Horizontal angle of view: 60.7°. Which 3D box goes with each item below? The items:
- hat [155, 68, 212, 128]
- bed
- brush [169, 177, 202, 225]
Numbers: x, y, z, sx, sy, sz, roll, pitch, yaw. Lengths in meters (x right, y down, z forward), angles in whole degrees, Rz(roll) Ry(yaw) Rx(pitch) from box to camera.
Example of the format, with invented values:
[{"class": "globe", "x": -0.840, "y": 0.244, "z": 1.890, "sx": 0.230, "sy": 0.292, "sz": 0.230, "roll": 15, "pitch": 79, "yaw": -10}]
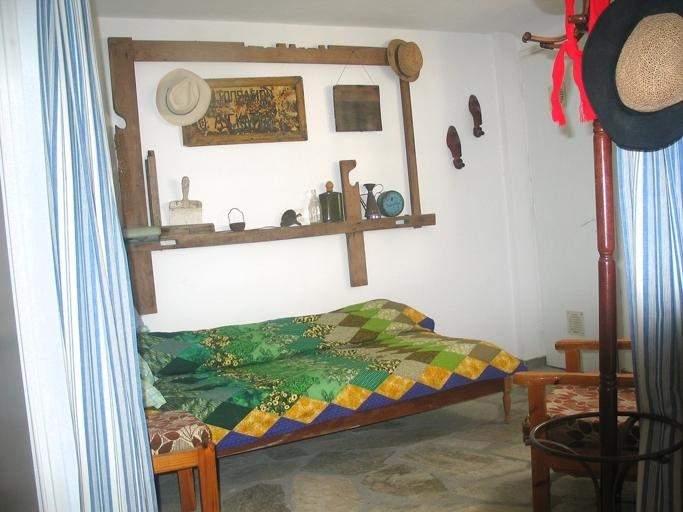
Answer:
[{"class": "hat", "x": -1.100, "y": -1.077, "z": 4.019, "sx": 0.382, "sy": 0.377, "sz": 0.133, "roll": 11, "pitch": 11, "yaw": -2}, {"class": "bed", "x": -0.167, "y": 0.651, "z": 3.610, "sx": 2.023, "sy": 0.526, "sz": 1.087, "roll": -7, "pitch": 6, "yaw": -20}, {"class": "brush", "x": -1.100, "y": -0.387, "z": 4.084, "sx": 0.239, "sy": 0.337, "sz": 0.147, "roll": -7, "pitch": 6, "yaw": -13}]
